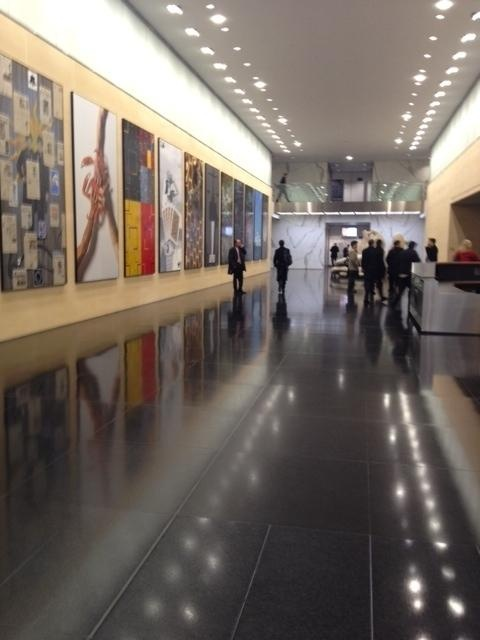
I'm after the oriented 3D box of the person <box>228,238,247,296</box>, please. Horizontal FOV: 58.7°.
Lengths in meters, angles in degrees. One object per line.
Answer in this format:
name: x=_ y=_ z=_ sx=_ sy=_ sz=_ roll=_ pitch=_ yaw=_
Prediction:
person: x=-0.102 y=-1.982 z=15.661 sx=0.548 sy=1.957 sz=1.256 roll=1 pitch=6 yaw=-1
